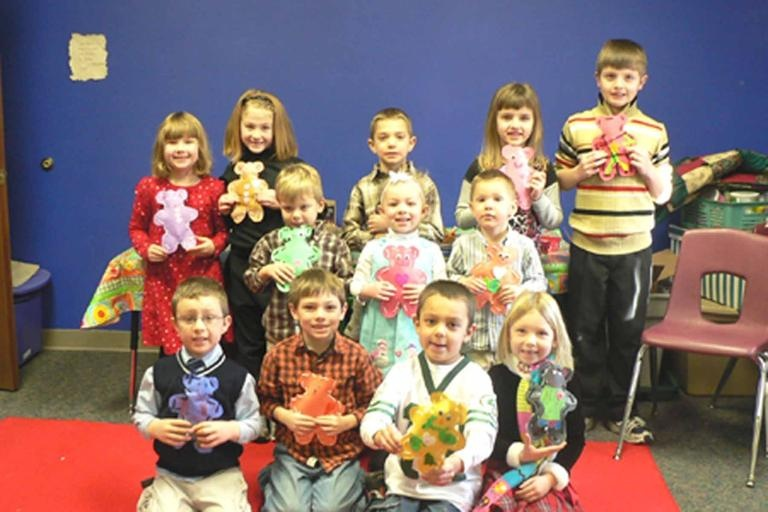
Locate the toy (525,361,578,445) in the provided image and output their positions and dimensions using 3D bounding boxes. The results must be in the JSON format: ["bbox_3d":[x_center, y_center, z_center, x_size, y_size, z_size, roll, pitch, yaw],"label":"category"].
[{"bbox_3d":[0.739,0.650,3.140,0.210,0.361,0.138,4,13,12],"label":"toy"}]

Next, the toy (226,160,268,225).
[{"bbox_3d":[-0.772,-0.357,4.006,0.242,0.332,0.081,3,-2,6],"label":"toy"}]

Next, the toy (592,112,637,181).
[{"bbox_3d":[1.264,-0.601,3.887,0.228,0.346,0.087,6,13,17],"label":"toy"}]

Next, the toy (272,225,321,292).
[{"bbox_3d":[-0.463,-0.007,3.765,0.268,0.342,0.078,-2,-30,4],"label":"toy"}]

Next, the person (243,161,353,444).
[{"bbox_3d":[-0.470,0.294,3.894,0.607,1.514,0.529,1,7,-2],"label":"person"}]

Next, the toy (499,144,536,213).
[{"bbox_3d":[0.727,-0.437,3.848,0.215,0.369,0.159,3,-5,13],"label":"toy"}]

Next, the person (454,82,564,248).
[{"bbox_3d":[0.708,-0.287,4.017,0.596,1.339,0.402,0,7,-3],"label":"person"}]

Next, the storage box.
[{"bbox_3d":[-2.465,0.386,4.983,0.229,0.649,0.406,-5,14,-25],"label":"storage box"}]

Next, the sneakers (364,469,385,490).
[{"bbox_3d":[-0.046,1.057,3.359,0.045,0.107,0.119,-17,-9,40],"label":"sneakers"}]

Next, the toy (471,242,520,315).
[{"bbox_3d":[0.571,0.120,3.580,0.351,0.445,0.114,3,-4,0],"label":"toy"}]

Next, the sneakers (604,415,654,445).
[{"bbox_3d":[1.396,0.975,4.052,0.115,0.118,0.280,-3,0,-34],"label":"sneakers"}]

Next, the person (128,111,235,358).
[{"bbox_3d":[-1.183,0.025,4.165,0.605,1.651,0.552,-3,21,-20],"label":"person"}]
